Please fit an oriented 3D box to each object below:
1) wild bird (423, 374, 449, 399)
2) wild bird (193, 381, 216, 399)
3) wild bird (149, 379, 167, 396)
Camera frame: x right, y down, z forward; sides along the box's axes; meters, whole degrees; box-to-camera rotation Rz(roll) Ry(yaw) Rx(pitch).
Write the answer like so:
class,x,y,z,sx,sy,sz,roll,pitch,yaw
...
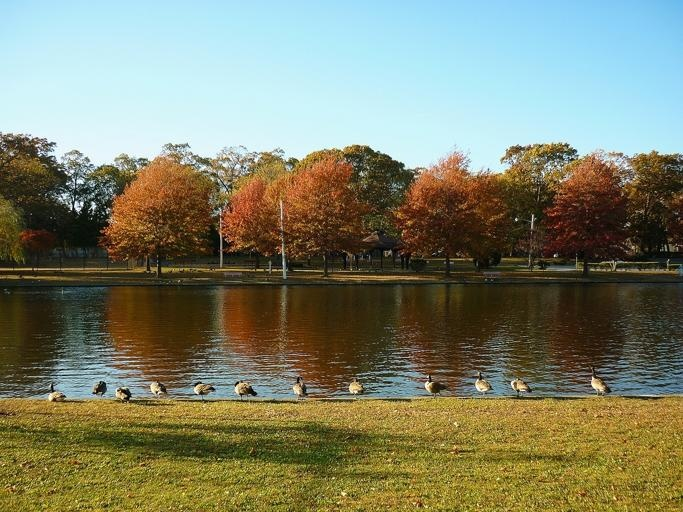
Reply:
class,x,y,z,sx,sy,sz,roll,pitch,yaw
wild bird,3.365,4.784,40.987,0.917,0.653,0.498,3,-5,14
wild bird,-4.978,4.793,40.470,0.412,0.638,1.123,-1,-8,-22
wild bird,-6.616,4.798,40.648,0.401,0.475,0.783,-7,-9,-30
